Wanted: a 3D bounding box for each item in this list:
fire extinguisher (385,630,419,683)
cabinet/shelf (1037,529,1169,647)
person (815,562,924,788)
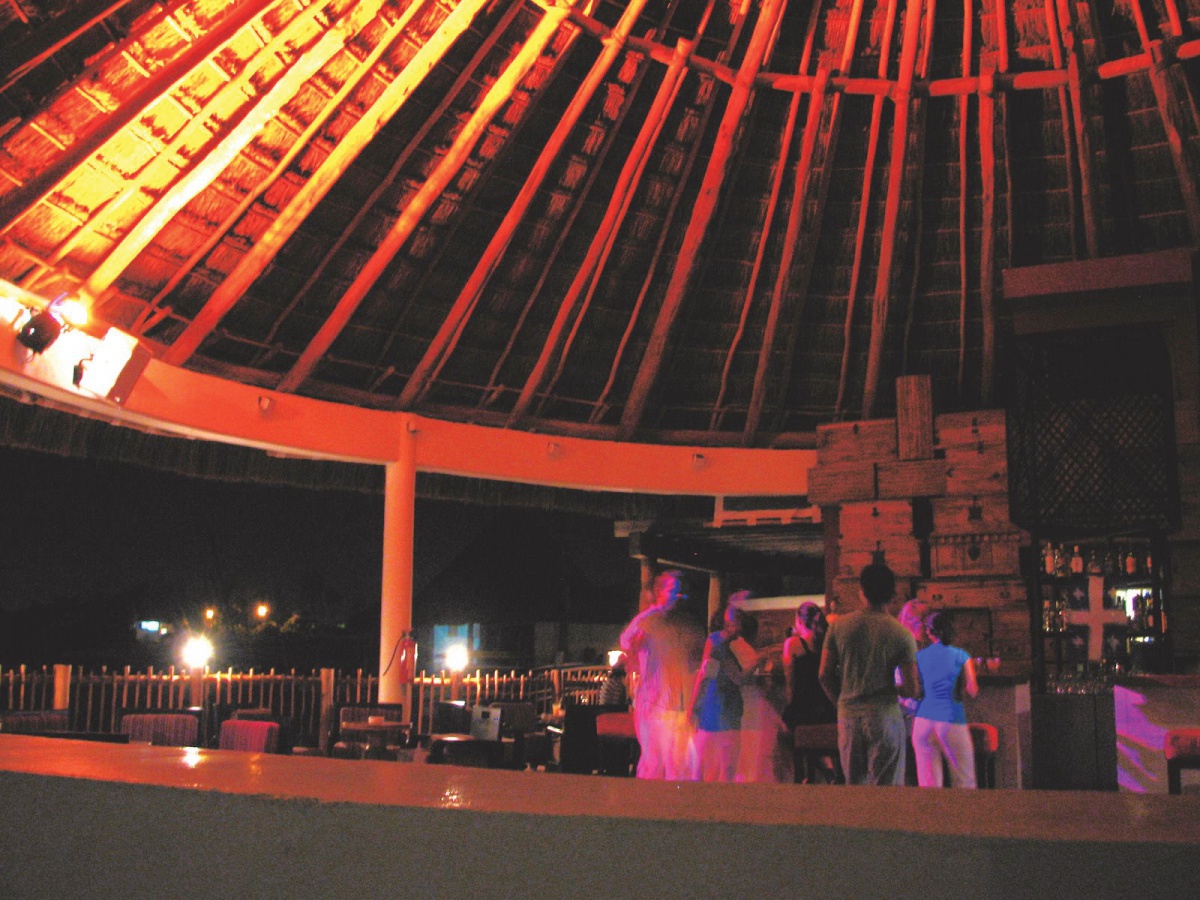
[{"bbox_3d":[-2.145,2.253,11.311,0.253,0.572,0.487,5,-13,-20],"label":"fire extinguisher"},{"bbox_3d":[4.312,1.264,8.973,1.077,0.963,1.151,1,-6,16],"label":"cabinet/shelf"},{"bbox_3d":[1.588,1.300,6.104,0.571,1.272,0.446,-3,-12,16],"label":"person"}]
